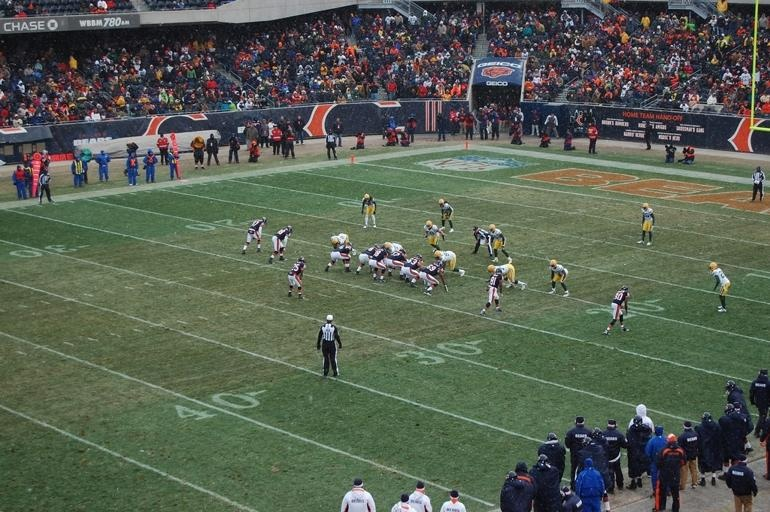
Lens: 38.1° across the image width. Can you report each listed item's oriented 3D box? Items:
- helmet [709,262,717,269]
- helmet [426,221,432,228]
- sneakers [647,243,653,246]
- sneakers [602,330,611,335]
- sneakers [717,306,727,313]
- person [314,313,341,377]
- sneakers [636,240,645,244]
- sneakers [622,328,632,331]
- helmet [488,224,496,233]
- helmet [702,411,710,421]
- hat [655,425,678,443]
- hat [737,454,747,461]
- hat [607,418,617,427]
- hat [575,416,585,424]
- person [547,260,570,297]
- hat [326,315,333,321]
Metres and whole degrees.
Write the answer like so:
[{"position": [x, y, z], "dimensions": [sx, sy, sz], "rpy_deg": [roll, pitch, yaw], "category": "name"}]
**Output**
[{"position": [11.484, 0.297, 39.094], "dimensions": [0.208, 0.214, 0.239], "rpy_deg": [-1, 20, -7], "category": "helmet"}, {"position": [1.697, -1.272, 42.975], "dimensions": [0.226, 0.207, 0.278], "rpy_deg": [-1, -8, 2], "category": "helmet"}, {"position": [10.418, -0.518, 43.960], "dimensions": [0.174, 0.154, 0.101], "rpy_deg": [5, -11, 1], "category": "sneakers"}, {"position": [7.191, 2.431, 36.277], "dimensions": [0.277, 0.169, 0.093], "rpy_deg": [-15, 32, -28], "category": "sneakers"}, {"position": [11.443, 1.743, 37.850], "dimensions": [0.273, 0.190, 0.385], "rpy_deg": [2, 9, 16], "category": "sneakers"}, {"position": [-1.709, 2.644, 34.338], "dimensions": [0.681, 1.955, 1.396], "rpy_deg": [0, 9, -1], "category": "person"}, {"position": [10.102, -0.627, 44.086], "dimensions": [0.233, 0.144, 0.315], "rpy_deg": [1, 8, 7], "category": "sneakers"}, {"position": [7.910, 2.381, 36.494], "dimensions": [0.279, 0.087, 0.179], "rpy_deg": [2, 8, 12], "category": "sneakers"}, {"position": [4.006, -1.073, 42.231], "dimensions": [0.268, 0.299, 0.325], "rpy_deg": [-12, 3, 25], "category": "helmet"}, {"position": [8.720, 4.340, 30.314], "dimensions": [0.250, 0.287, 0.302], "rpy_deg": [3, -19, 7], "category": "helmet"}, {"position": [7.383, 4.672, 29.212], "dimensions": [0.454, 0.582, 0.668], "rpy_deg": [-2, -4, -4], "category": "hat"}, {"position": [9.044, 5.090, 28.246], "dimensions": [0.169, 0.203, 0.245], "rpy_deg": [2, 9, 14], "category": "hat"}, {"position": [6.052, 4.422, 29.525], "dimensions": [0.297, 0.202, 0.204], "rpy_deg": [-6, 16, -6], "category": "hat"}, {"position": [5.147, 4.354, 29.484], "dimensions": [0.269, 0.276, 0.328], "rpy_deg": [3, 11, 10], "category": "hat"}, {"position": [6.185, 0.652, 39.523], "dimensions": [0.635, 1.293, 1.825], "rpy_deg": [1, 8, 8], "category": "person"}, {"position": [-1.672, 1.823, 33.687], "dimensions": [0.188, 0.132, 0.284], "rpy_deg": [7, -8, -3], "category": "hat"}]
